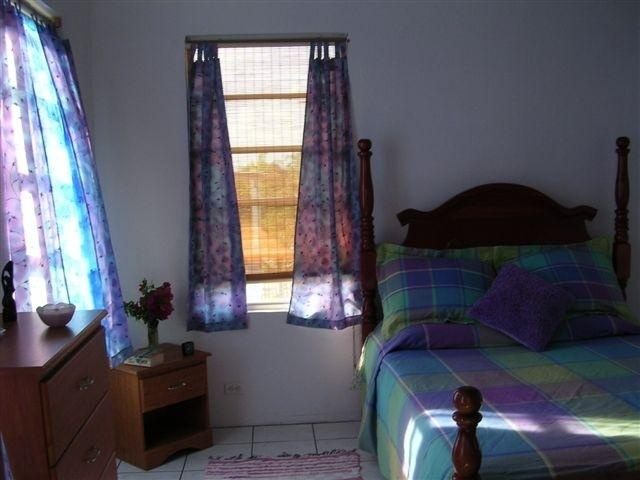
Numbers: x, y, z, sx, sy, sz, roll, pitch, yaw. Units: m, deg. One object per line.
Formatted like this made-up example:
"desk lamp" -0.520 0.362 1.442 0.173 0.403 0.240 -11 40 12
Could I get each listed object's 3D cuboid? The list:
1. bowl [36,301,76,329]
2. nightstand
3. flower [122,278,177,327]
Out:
"bowl" -1.144 0.319 2.307 0.109 0.066 0.114 0 -1 0
"nightstand" -1.003 1.037 3.353 0.411 0.600 0.501 -2 2 40
"flower" -1.079 0.412 3.354 0.303 0.263 0.253 4 7 36
